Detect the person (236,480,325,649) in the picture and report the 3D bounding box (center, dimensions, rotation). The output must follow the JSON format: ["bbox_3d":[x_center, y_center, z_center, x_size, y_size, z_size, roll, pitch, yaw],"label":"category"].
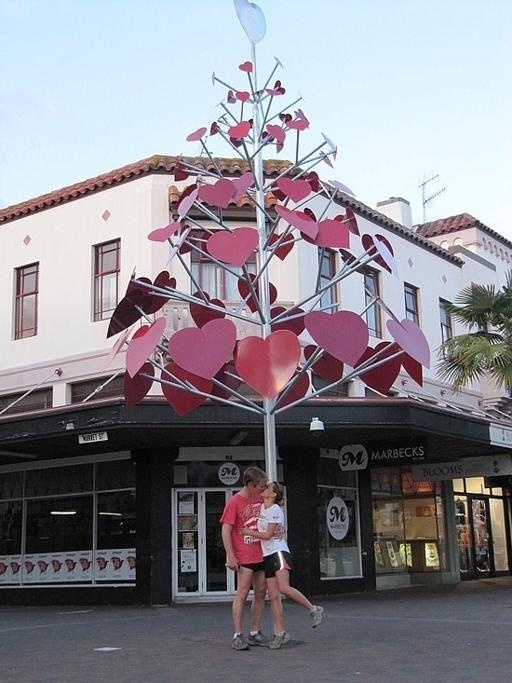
[{"bbox_3d":[0.224,1.946,6.426,0.581,1.399,0.775,-5,-14,4],"label":"person"}]
